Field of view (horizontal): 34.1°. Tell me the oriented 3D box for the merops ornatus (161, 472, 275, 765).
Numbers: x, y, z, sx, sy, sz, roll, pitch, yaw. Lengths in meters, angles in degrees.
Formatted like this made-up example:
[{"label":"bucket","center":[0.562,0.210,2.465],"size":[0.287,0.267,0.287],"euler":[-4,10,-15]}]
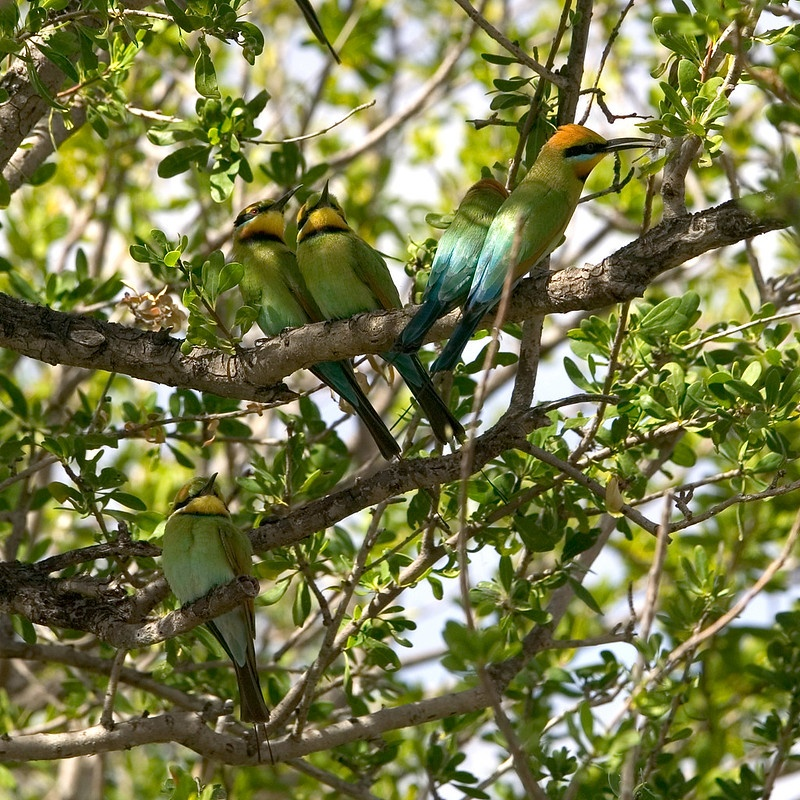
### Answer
[{"label":"merops ornatus","center":[-0.674,0.746,4.713],"size":[0.459,1.056,0.320],"euler":[-7,-14,-8]}]
